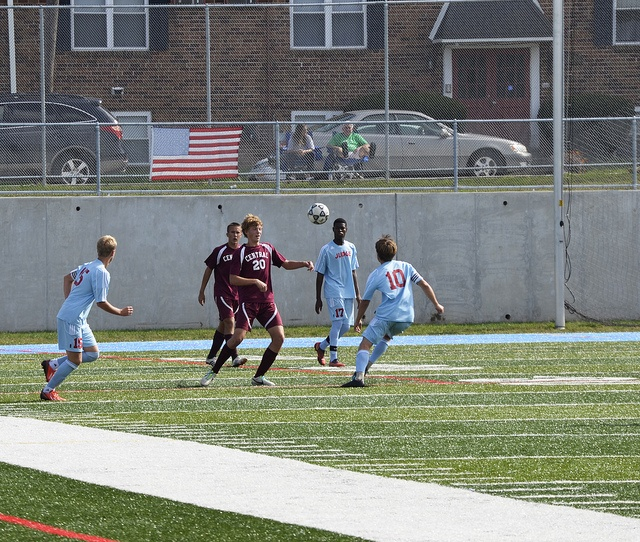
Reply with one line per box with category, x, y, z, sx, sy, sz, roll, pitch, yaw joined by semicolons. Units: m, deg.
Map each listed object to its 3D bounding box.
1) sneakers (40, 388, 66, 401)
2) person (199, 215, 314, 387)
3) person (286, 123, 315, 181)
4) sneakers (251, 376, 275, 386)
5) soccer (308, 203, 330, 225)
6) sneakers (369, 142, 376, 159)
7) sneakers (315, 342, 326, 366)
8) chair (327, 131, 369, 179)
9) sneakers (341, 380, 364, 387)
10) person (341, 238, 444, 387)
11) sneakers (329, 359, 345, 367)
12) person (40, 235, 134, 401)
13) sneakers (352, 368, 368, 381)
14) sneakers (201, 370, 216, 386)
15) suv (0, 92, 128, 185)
sneakers;-3.441;1.606;21.008;0.361;0.195;0.131;4;6;-20
person;-0.985;0.390;22.199;0.968;2.334;1.130;0;2;-1
person;-0.386;-2.240;29.892;0.528;0.992;0.153;0;2;-4
sneakers;-0.791;1.492;22.196;0.347;0.174;0.134;1;12;-11
soccer;-0.045;-0.969;27.488;0.319;0.352;0.333;-7;36;-39
sneakers;0.960;-2.282;30.285;0.095;0.303;0.119;6;-10;-17
sneakers;-0.014;1.238;24.336;0.158;0.384;0.131;-5;11;19
chair;0.553;-2.254;30.072;0.624;1.263;1.165;-5;8;-15
sneakers;0.429;1.505;21.854;0.292;0.142;0.112;2;-3;3
person;0.849;0.537;22.011;1.151;2.049;0.679;0;2;-6
sneakers;0.248;1.364;24.297;0.185;0.099;0.111;-1;5;-16
person;-3.083;0.610;20.951;0.989;2.121;0.463;0;2;-12
sneakers;0.534;1.386;21.874;0.129;0.195;0.181;7;11;-2
sneakers;-1.536;1.463;22.134;0.129;0.116;0.318;-29;-12;-14
suv;-4.811;-2.458;30.237;2.437;1.319;1.506;4;6;-5
